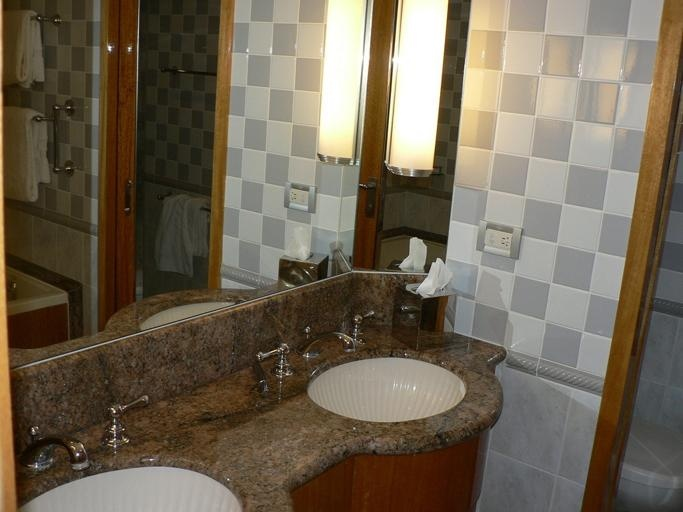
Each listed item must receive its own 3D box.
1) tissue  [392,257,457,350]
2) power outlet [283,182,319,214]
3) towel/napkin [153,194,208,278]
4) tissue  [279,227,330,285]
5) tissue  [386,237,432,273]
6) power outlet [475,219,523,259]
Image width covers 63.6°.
[{"bbox_3d":[0.299,0.163,1.980,0.129,0.362,0.159,-14,24,-42],"label":"tissue "},{"bbox_3d":[-0.157,-0.179,1.914,0.148,0.152,0.072,-1,10,-40],"label":"power outlet"},{"bbox_3d":[-0.432,-0.056,1.508,0.020,0.234,0.217,9,14,24],"label":"towel/napkin"},{"bbox_3d":[-0.146,0.018,1.916,0.133,0.250,0.148,2,20,-6],"label":"tissue "},{"bbox_3d":[0.260,-0.005,2.147,0.121,0.142,0.108,-7,-16,22],"label":"tissue "},{"bbox_3d":[0.561,-0.062,1.956,0.145,0.115,0.035,15,23,32],"label":"power outlet"}]
